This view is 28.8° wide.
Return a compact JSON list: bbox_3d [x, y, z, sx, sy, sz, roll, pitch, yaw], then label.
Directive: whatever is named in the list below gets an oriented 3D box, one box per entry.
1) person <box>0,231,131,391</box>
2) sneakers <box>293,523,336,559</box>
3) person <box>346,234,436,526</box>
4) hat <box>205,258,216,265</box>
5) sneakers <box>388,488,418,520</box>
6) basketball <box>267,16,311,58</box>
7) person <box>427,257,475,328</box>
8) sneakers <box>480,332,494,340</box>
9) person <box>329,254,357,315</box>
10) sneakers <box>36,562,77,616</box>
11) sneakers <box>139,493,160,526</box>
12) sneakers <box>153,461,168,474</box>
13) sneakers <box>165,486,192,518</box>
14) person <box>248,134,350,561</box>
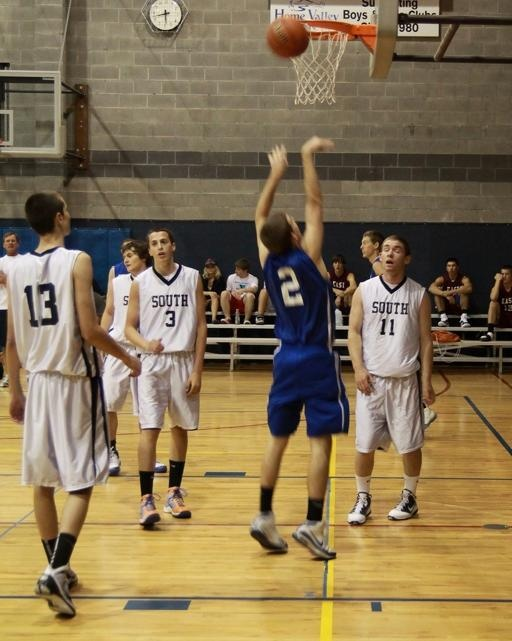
[{"bbox_3d":[-0.854,-0.038,4.436,0.553,0.943,0.481,-2,5,24],"label":"person"},{"bbox_3d":[0.272,1.072,4.754,0.204,0.142,0.069,39,-2,-14],"label":"sneakers"},{"bbox_3d":[0.713,0.317,5.344,0.455,1.521,0.303,1,5,5],"label":"person"},{"bbox_3d":[-0.576,-0.718,12.270,0.072,0.068,0.115,-1,-6,-1],"label":"hat"},{"bbox_3d":[0.797,1.014,5.359,0.084,0.147,0.227,-5,-11,33],"label":"sneakers"},{"bbox_3d":[0.203,-1.892,6.622,0.265,0.274,0.291,1,6,0],"label":"basketball"},{"bbox_3d":[2.345,-0.330,12.108,0.423,0.868,0.572,0,-4,9],"label":"person"},{"bbox_3d":[2.637,0.195,11.444,0.070,0.100,0.224,1,3,6],"label":"sneakers"},{"bbox_3d":[0.978,-0.358,11.913,0.352,0.844,0.435,-2,1,-9],"label":"person"},{"bbox_3d":[-0.795,1.149,4.184,0.113,0.161,0.327,-4,-28,7],"label":"sneakers"},{"bbox_3d":[-0.560,1.016,5.248,0.103,0.163,0.151,0,6,-6],"label":"sneakers"},{"bbox_3d":[-0.627,0.976,6.511,0.074,0.096,0.211,2,-13,-9],"label":"sneakers"},{"bbox_3d":[-0.429,1.017,5.447,0.082,0.133,0.213,5,-11,-22],"label":"sneakers"},{"bbox_3d":[0.206,0.147,4.748,0.479,2.025,0.387,2,6,17],"label":"person"}]
